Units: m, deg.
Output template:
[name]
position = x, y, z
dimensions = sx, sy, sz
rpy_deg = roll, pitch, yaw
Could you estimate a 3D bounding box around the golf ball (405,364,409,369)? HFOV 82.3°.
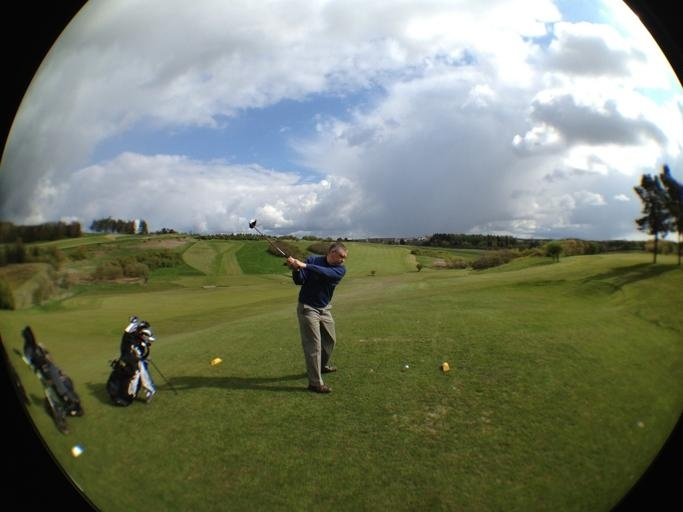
[golf ball]
position = 1.682, 2.922, 10.151
dimensions = 0.045, 0.061, 0.152
rpy_deg = 6, -9, 4
